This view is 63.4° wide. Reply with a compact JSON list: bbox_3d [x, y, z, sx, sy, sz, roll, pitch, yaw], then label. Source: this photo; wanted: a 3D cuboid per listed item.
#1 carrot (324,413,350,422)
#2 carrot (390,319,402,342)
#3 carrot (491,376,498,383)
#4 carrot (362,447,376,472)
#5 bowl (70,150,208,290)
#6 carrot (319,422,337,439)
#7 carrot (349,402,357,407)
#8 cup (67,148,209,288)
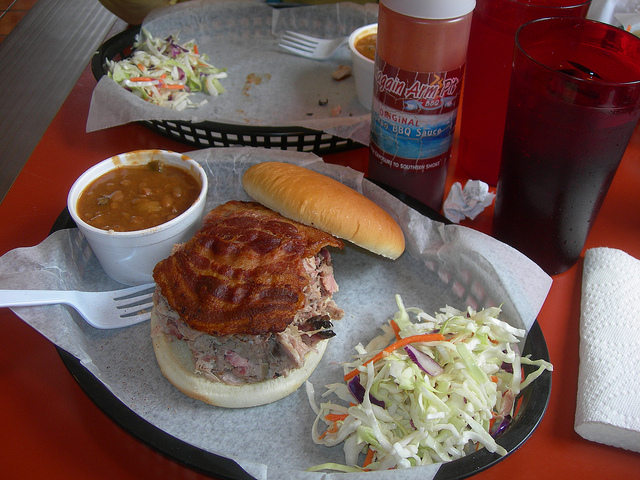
[{"bbox_3d":[0.057,0.601,1.767,0.087,0.024,0.029,0,51,7],"label":"carrot"},{"bbox_3d":[0.283,0.340,1.952,0.019,0.020,0.084,-5,59,-16],"label":"carrot"},{"bbox_3d":[0.603,0.481,1.790,0.019,0.006,0.019,-11,28,-17],"label":"carrot"},{"bbox_3d":[0.155,0.720,1.709,0.016,0.011,0.079,20,51,5],"label":"carrot"},{"bbox_3d":[-0.743,-0.079,2.303,0.532,0.406,0.573,1,44,-1],"label":"bowl"},{"bbox_3d":[0.027,0.648,1.759,0.070,0.009,0.021,-41,75,-2],"label":"carrot"},{"bbox_3d":[0.116,0.577,1.819,0.018,0.025,0.009,1,96,-13],"label":"carrot"},{"bbox_3d":[-0.721,-0.116,2.229,0.537,0.356,0.569,0,46,0],"label":"cup"}]
